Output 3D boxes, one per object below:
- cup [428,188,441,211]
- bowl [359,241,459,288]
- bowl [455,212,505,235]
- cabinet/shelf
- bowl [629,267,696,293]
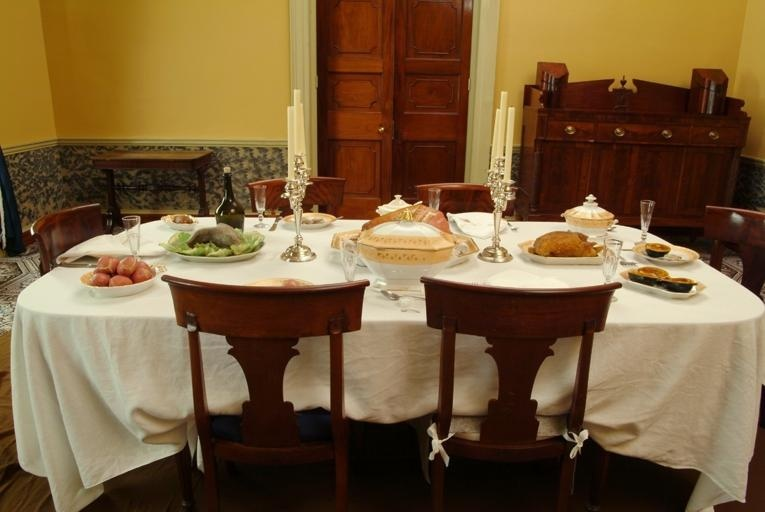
[{"bbox_3d":[0.253,-0.278,2.721,0.044,0.103,0.138,2,18,12],"label":"cup"},{"bbox_3d":[0.067,0.031,2.352,0.470,0.173,0.472,2,6,0],"label":"bowl"},{"bbox_3d":[0.505,-0.171,2.955,0.167,0.037,0.178,2,22,-1],"label":"bowl"},{"bbox_3d":[2.254,-0.913,4.979,1.615,1.258,0.572,1,19,1],"label":"cabinet/shelf"},{"bbox_3d":[1.106,0.095,2.230,0.117,0.037,0.177,-5,18,-20],"label":"bowl"}]
